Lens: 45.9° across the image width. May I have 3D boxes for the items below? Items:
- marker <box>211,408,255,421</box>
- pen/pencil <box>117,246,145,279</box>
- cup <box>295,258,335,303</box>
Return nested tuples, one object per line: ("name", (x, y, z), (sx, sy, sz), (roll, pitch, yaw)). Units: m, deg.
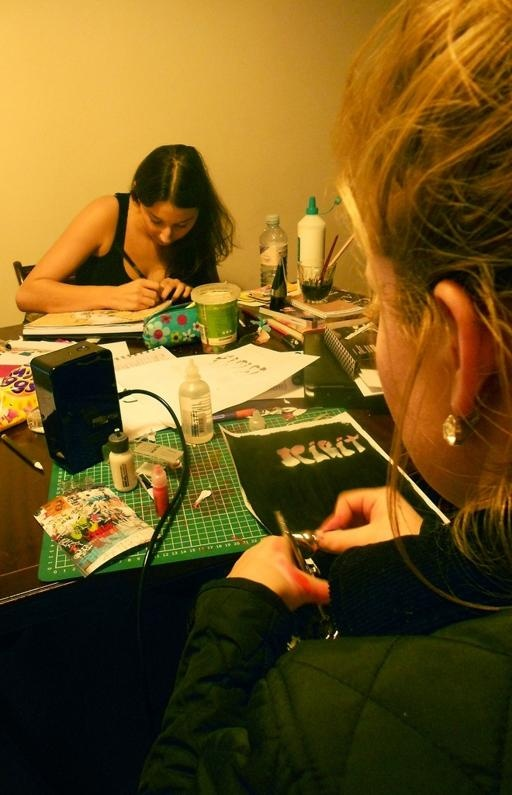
("marker", (-0.042, 0.031, 1.089), (0.062, 0.012, 0.012), (-11, 13, -21))
("pen/pencil", (-0.475, -0.509, 2.285), (0.021, 0.194, 0.029), (-32, 26, 2))
("cup", (0.159, -0.328, 1.699), (0.099, 0.106, 0.101), (-2, 22, 1))
